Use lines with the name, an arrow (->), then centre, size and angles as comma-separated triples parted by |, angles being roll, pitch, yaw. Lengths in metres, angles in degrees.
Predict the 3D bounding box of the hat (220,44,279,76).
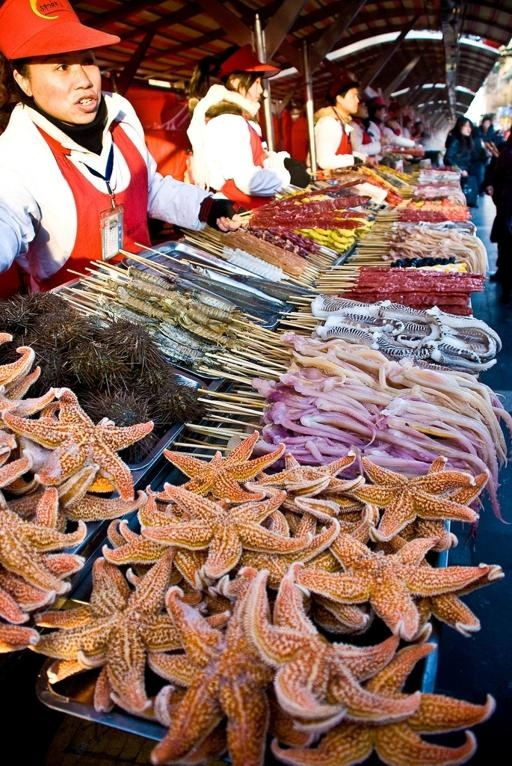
hat -> -0.035, -2.562, 4.470 | 0.433, 0.194, 0.313 | -5, 23, 8
